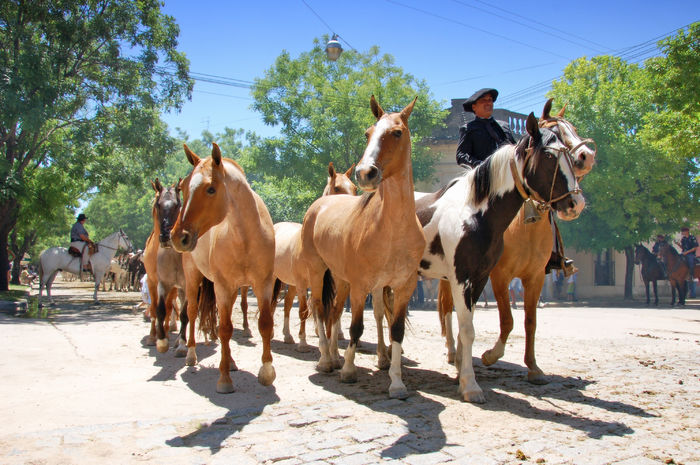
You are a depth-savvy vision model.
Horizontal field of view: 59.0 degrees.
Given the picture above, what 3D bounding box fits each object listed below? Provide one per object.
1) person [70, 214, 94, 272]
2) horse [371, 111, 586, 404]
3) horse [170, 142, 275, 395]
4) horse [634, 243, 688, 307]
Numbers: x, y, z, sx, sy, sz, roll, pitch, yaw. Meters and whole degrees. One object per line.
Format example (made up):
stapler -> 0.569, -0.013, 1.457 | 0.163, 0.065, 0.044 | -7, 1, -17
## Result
person -> -10.325, 0.363, 23.827 | 0.879, 2.230, 0.914 | -5, 14, -23
horse -> 2.795, 0.377, 12.655 | 3.139, 5.528, 1.848 | 5, 14, 19
horse -> -2.618, 0.653, 12.860 | 2.446, 5.031, 1.906 | 8, 15, 28
horse -> 14.663, 1.792, 27.642 | 0.960, 2.630, 3.683 | -3, -1, -18
